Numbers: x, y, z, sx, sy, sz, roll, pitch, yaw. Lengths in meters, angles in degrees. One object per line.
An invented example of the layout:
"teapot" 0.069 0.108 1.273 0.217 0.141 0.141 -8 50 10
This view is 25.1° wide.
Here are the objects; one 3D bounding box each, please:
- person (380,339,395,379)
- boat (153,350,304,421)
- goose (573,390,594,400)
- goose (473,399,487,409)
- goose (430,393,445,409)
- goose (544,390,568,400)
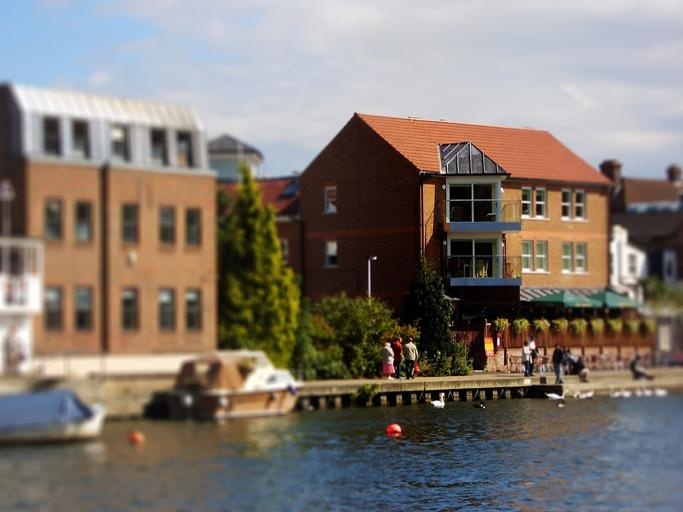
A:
"person" 2.414 5.194 78.698 0.660 1.803 1.237 -2 -6 2
"boat" -5.392 6.072 73.143 4.855 2.129 3.547 -2 1 -23
"goose" 12.864 7.124 80.594 1.177 0.454 0.411 1 -7 -21
"goose" 7.108 7.411 78.373 0.256 0.390 0.650 2 3 -9
"goose" 4.958 7.219 77.676 0.939 1.084 0.389 0 2 1
"goose" 11.184 7.136 80.209 1.015 0.461 0.775 -5 -7 23
